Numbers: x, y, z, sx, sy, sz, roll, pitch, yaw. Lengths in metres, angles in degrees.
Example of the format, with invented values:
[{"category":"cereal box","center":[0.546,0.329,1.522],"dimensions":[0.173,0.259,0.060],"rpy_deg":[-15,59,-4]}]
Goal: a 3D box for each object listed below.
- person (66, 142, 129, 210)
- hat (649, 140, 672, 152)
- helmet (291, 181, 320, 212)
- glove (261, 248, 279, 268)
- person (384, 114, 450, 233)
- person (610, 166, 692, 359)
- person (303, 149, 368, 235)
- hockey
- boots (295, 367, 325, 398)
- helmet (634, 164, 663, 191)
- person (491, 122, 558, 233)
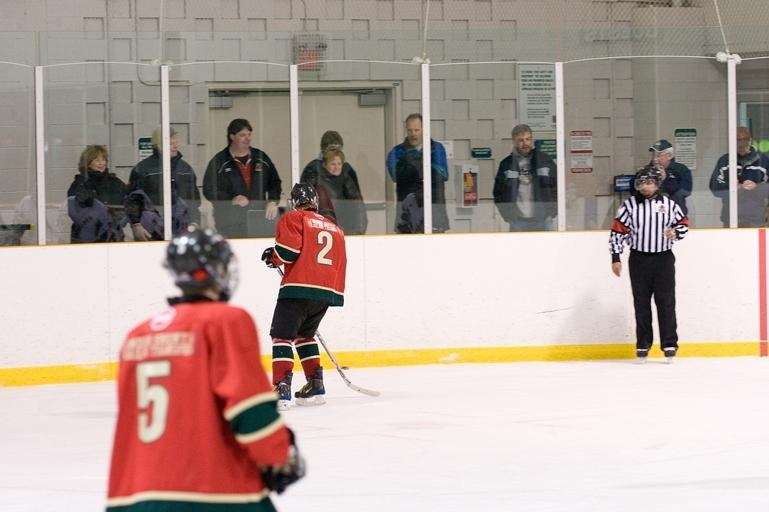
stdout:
[{"category":"person","center":[-2.900,-0.838,11.240],"dimensions":[0.666,0.871,0.551],"rpy_deg":[-12,4,-18]},{"category":"hat","center":[2.853,-1.134,11.300],"dimensions":[0.176,0.103,0.124],"rpy_deg":[21,-1,-31]},{"category":"helmet","center":[-0.696,-0.526,9.730],"dimensions":[0.189,0.245,0.221],"rpy_deg":[-2,12,-17]},{"category":"glove","center":[-0.976,0.007,9.601],"dimensions":[0.071,0.201,0.144],"rpy_deg":[1,-26,-33]},{"category":"person","center":[0.341,-0.849,11.239],"dimensions":[0.623,1.189,0.237],"rpy_deg":[-1,11,2]},{"category":"person","center":[2.645,0.078,11.051],"dimensions":[0.694,1.898,0.421],"rpy_deg":[6,13,30]},{"category":"person","center":[-0.483,-0.641,10.838],"dimensions":[0.551,1.110,0.324],"rpy_deg":[-16,5,1]},{"category":"hockey","center":[-0.555,0.735,10.204],"dimensions":[0.457,0.061,1.559],"rpy_deg":[1,43,-36]},{"category":"boots","center":[-0.669,1.180,9.861],"dimensions":[0.147,0.334,0.415],"rpy_deg":[-2,1,-37]},{"category":"helmet","center":[2.682,-0.789,11.096],"dimensions":[0.220,0.276,0.290],"rpy_deg":[6,7,18]},{"category":"person","center":[1.452,-0.814,11.294],"dimensions":[0.617,1.063,0.230],"rpy_deg":[0,12,6]}]
